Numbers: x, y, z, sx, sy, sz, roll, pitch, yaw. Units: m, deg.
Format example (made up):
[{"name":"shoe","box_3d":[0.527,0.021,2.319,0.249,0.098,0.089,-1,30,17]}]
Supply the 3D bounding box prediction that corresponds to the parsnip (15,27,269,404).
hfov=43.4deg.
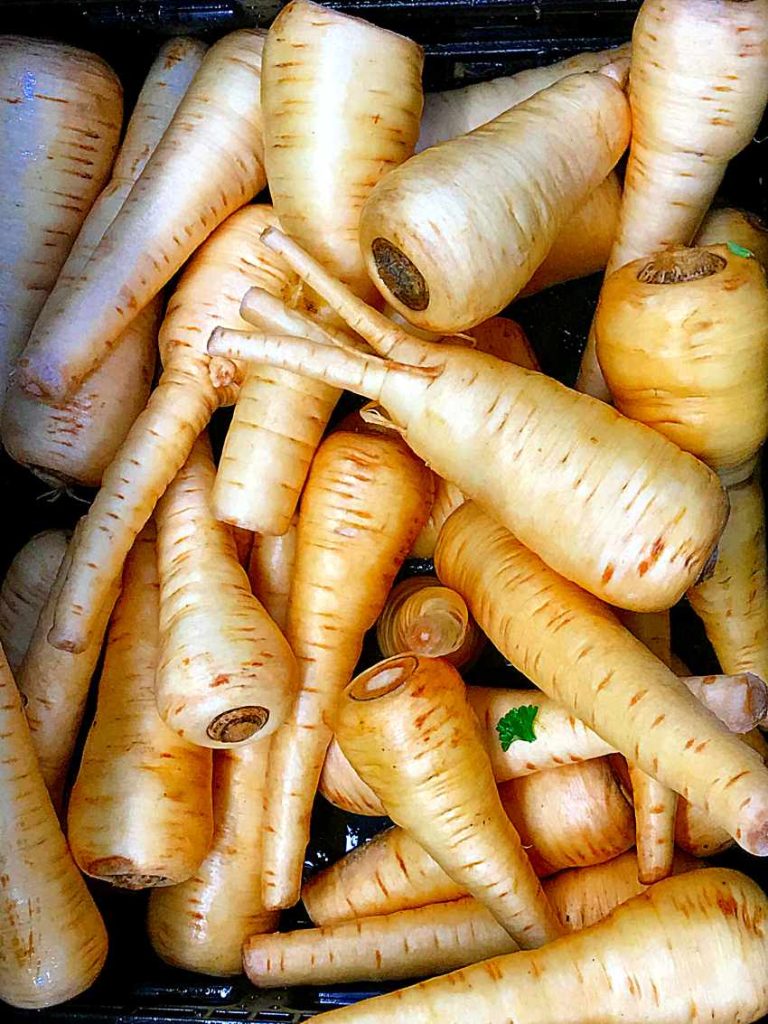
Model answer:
[{"name":"parsnip","box_3d":[-0.305,-0.389,1.255,0.120,0.222,0.526,34,67,21]}]

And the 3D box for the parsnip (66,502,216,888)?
[{"name":"parsnip","box_3d":[-0.331,0.265,1.321,0.141,0.139,0.450,16,58,-39]}]

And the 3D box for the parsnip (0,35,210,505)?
[{"name":"parsnip","box_3d":[-0.307,-0.380,1.441,0.210,0.213,0.759,17,79,-2]}]
